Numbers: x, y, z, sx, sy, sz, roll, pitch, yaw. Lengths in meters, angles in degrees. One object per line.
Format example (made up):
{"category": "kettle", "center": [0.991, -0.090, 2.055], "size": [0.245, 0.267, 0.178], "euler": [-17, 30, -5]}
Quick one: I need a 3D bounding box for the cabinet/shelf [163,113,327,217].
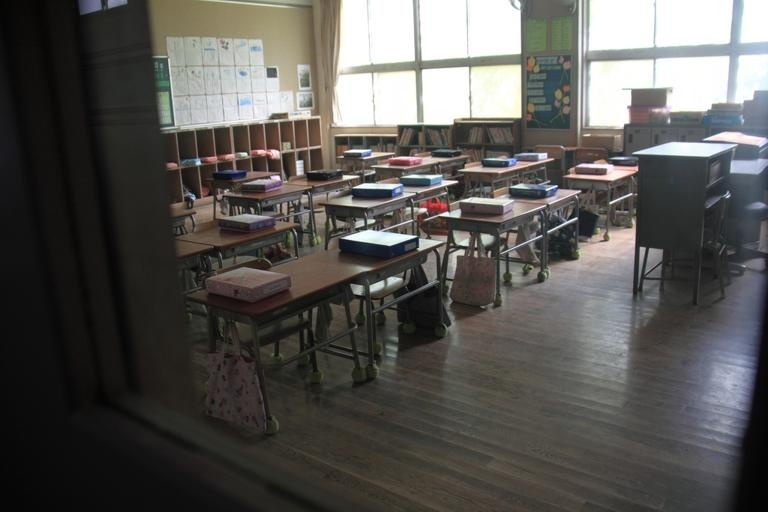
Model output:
{"category": "cabinet/shelf", "center": [-2.337, -1.503, 8.710], "size": [0.377, 0.999, 2.835], "euler": [7, 20, 37]}

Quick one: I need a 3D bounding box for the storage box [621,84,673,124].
{"category": "storage box", "center": [3.900, -2.146, 8.037], "size": [0.715, 0.509, 0.574], "euler": [7, 13, 41]}

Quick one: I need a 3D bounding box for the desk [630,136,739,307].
{"category": "desk", "center": [2.860, -0.278, 5.098], "size": [0.581, 1.254, 1.485], "euler": [4, 20, 26]}

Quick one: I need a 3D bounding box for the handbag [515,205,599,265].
{"category": "handbag", "center": [1.922, -0.229, 6.388], "size": [1.044, 0.790, 0.787], "euler": [-14, 19, -40]}

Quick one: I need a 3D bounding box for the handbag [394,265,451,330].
{"category": "handbag", "center": [0.307, 0.378, 4.615], "size": [0.405, 0.656, 0.419], "euler": [11, 22, 37]}
